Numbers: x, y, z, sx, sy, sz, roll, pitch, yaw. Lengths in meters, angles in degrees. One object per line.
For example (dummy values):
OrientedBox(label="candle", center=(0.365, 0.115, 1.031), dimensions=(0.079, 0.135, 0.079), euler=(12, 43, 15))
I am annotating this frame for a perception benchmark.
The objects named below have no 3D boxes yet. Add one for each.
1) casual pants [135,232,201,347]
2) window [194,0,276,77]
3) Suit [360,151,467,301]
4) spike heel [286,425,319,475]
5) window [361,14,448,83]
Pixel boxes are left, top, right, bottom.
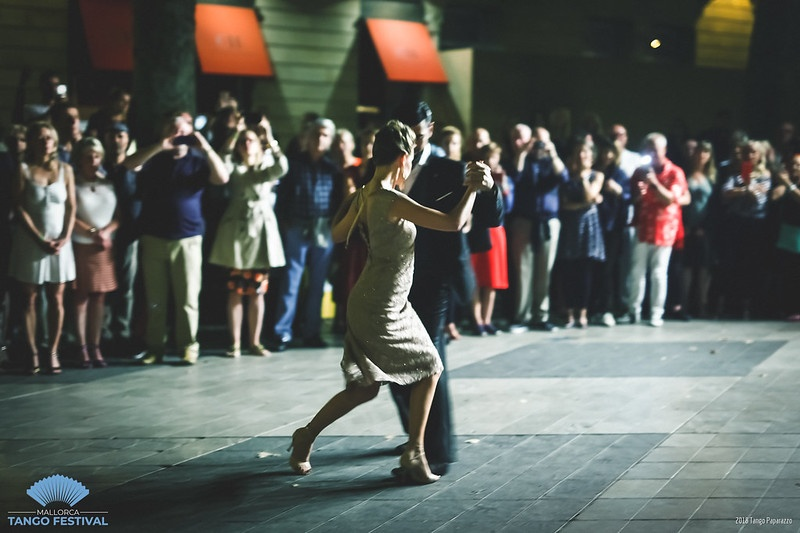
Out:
OrientedBox(label="casual pants", center=(-2.671, 0.301, 11.445), dimensions=(0.676, 1.384, 0.468), euler=(-1, -11, 1))
OrientedBox(label="window", center=(-2.986, -3.933, 17.262), dimensions=(1.492, 1.243, 0.685), euler=(-11, 16, -42))
OrientedBox(label="Suit", center=(0.107, -0.329, 8.188), dimensions=(1.069, 1.316, 0.725), euler=(7, 14, 30))
OrientedBox(label="spike heel", center=(-0.823, 1.532, 8.293), dimensions=(0.178, 0.445, 0.137), euler=(5, -5, 23))
OrientedBox(label="window", center=(0.113, -3.974, 18.309), dimensions=(1.166, 1.164, 1.127), euler=(-4, 13, -18))
